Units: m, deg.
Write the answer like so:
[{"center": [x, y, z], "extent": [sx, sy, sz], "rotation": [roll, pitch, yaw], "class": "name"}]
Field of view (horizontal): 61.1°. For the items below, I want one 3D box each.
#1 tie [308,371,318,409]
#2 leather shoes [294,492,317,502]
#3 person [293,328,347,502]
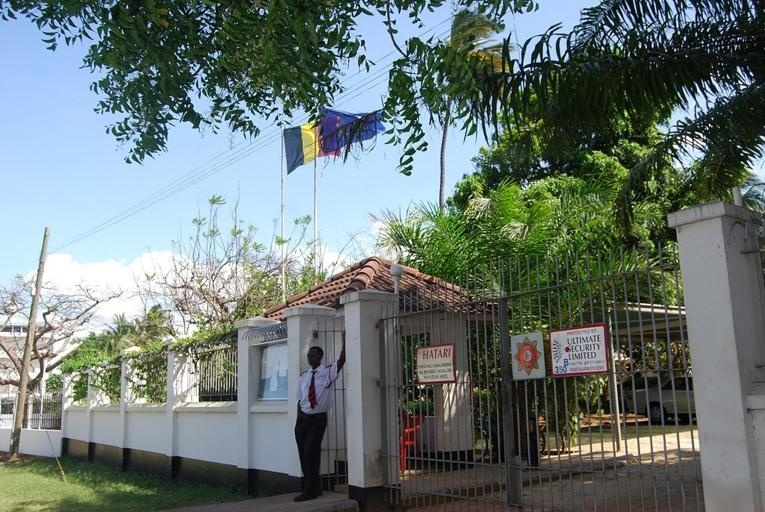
[{"center": [-1.235, 2.312, 11.172], "extent": [0.144, 0.618, 0.072], "rotation": [-1, -15, 0], "class": "tie"}, {"center": [-1.341, 4.105, 11.085], "extent": [0.371, 0.162, 0.140], "rotation": [10, -19, -12], "class": "leather shoes"}, {"center": [-1.166, 2.802, 11.254], "extent": [0.984, 2.738, 0.540], "rotation": [-14, -20, 41], "class": "person"}]
